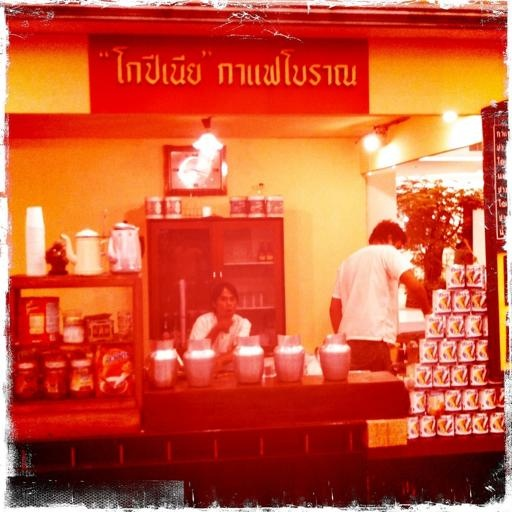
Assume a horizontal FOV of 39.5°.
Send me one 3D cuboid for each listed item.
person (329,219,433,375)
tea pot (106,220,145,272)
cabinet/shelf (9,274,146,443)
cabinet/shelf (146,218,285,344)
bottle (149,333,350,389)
[{"bbox_3d":[0.777,0.331,4.591,0.751,0.903,0.364,-2,0,29],"label":"person"},{"bbox_3d":[-0.600,-0.039,3.467,0.126,0.263,0.231,1,2,12],"label":"tea pot"},{"bbox_3d":[-0.844,0.504,3.315,0.603,0.824,0.409,0,-5,-8],"label":"cabinet/shelf"},{"bbox_3d":[-0.346,0.186,5.515,0.883,0.995,0.363,0,-2,-7],"label":"cabinet/shelf"},{"bbox_3d":[-0.030,0.476,3.263,0.921,0.220,0.181,-2,0,-7],"label":"bottle"}]
